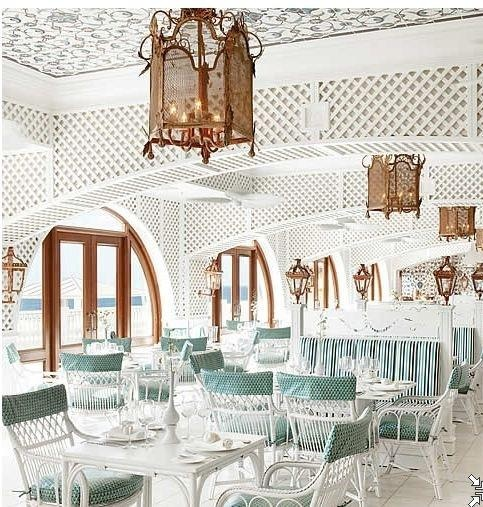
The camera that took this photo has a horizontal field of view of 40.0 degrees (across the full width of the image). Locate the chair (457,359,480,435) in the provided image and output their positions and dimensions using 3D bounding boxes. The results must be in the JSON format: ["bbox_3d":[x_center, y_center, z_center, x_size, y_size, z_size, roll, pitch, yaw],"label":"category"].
[{"bbox_3d":[2.525,1.480,7.277,0.266,0.736,1.321,-3,-3,18],"label":"chair"}]

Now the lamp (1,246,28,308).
[{"bbox_3d":[-2.364,0.218,6.908,0.239,0.591,0.481,-2,-3,-17],"label":"lamp"}]

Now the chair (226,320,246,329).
[{"bbox_3d":[-0.113,1.159,10.895,0.148,0.137,0.294,1,2,17],"label":"chair"}]

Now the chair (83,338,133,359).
[{"bbox_3d":[-1.542,1.030,7.394,0.441,0.224,0.361,2,-1,37],"label":"chair"}]

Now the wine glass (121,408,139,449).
[{"bbox_3d":[-0.565,0.887,3.354,0.087,0.256,0.093,-1,-5,-4],"label":"wine glass"}]

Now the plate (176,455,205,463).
[{"bbox_3d":[-0.225,0.914,2.958,0.121,0.026,0.093,-4,-4,0],"label":"plate"}]

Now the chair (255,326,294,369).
[{"bbox_3d":[0.455,1.319,9.280,0.370,0.734,0.460,1,-1,-2],"label":"chair"}]

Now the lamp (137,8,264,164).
[{"bbox_3d":[-0.217,-0.856,3.340,0.582,0.745,0.800,-2,-3,-10],"label":"lamp"}]

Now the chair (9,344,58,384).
[{"bbox_3d":[-2.188,1.146,6.942,0.301,0.465,0.598,-4,-3,26],"label":"chair"}]
